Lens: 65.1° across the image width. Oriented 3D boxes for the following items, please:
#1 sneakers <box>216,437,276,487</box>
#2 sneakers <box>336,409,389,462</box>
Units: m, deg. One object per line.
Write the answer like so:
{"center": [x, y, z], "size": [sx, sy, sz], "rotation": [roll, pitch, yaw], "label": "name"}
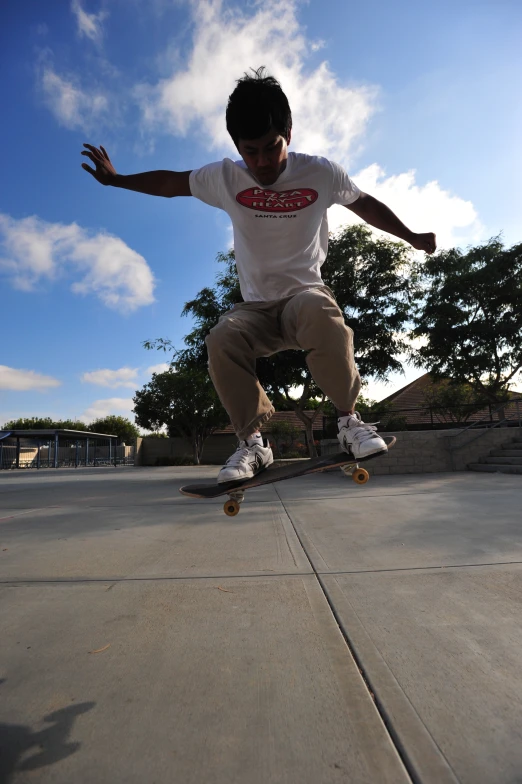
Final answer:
{"center": [-0.084, 0.405, 2.522], "size": [0.162, 0.245, 0.519], "rotation": [-16, -3, 29], "label": "sneakers"}
{"center": [0.549, 0.228, 2.325], "size": [0.146, 0.188, 0.399], "rotation": [-29, 11, -14], "label": "sneakers"}
